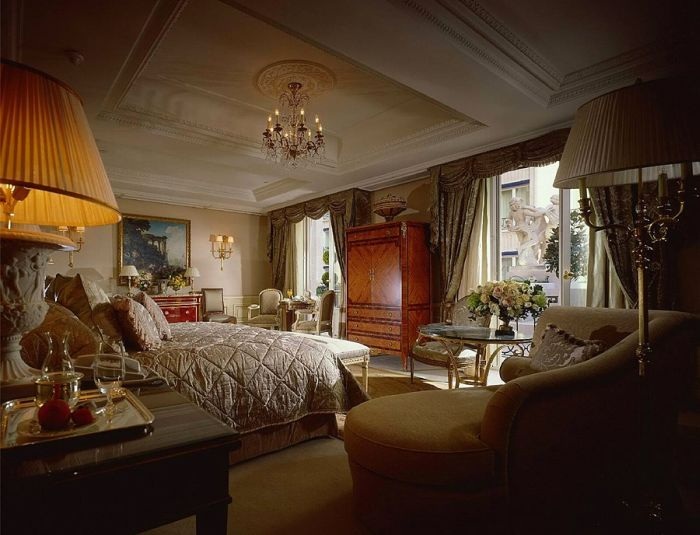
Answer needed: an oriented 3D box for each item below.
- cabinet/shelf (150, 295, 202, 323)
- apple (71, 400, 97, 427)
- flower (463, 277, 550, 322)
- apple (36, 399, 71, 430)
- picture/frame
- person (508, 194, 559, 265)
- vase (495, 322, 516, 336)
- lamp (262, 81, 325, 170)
[{"bbox_3d":[-3.040,0.727,8.309,0.443,0.815,0.786,-8,-8,43],"label":"cabinet/shelf"},{"bbox_3d":[-1.043,0.570,1.870,0.068,0.055,0.121,-9,-2,-18],"label":"apple"},{"bbox_3d":[1.396,0.276,4.253,0.427,0.342,0.463,-1,0,-3],"label":"flower"},{"bbox_3d":[-1.089,0.535,1.771,0.104,0.109,0.103,5,-13,-21],"label":"apple"},{"bbox_3d":[-3.510,-0.260,8.445,1.182,1.518,0.102,6,-10,-44],"label":"picture/frame"},{"bbox_3d":[2.251,-0.403,6.029,0.663,0.957,0.647,-3,-8,29],"label":"person"},{"bbox_3d":[1.360,0.551,4.177,0.126,0.147,0.141,-1,-3,2],"label":"vase"},{"bbox_3d":[-0.665,-1.545,5.410,0.640,0.985,0.701,0,-16,6],"label":"lamp"}]
